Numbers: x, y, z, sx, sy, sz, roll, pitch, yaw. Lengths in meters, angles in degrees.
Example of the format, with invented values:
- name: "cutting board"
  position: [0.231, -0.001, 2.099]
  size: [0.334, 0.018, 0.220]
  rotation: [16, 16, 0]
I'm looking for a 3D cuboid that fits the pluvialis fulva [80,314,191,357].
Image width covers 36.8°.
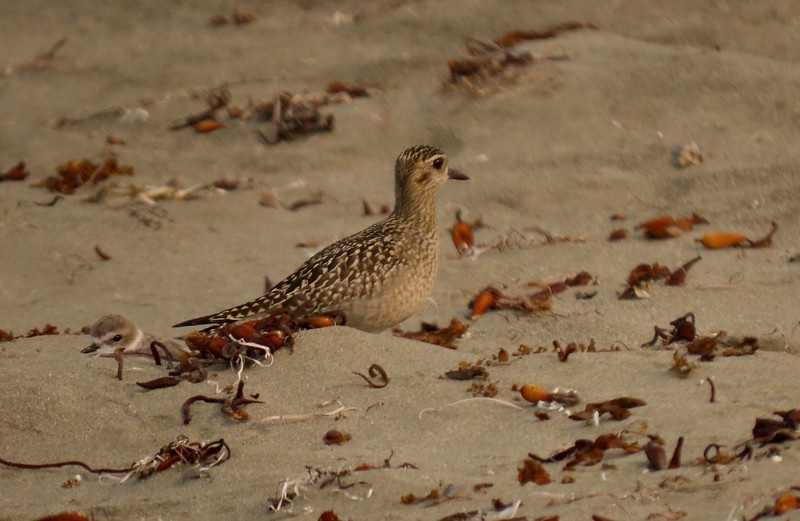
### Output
- name: "pluvialis fulva"
  position: [-2.372, 0.690, 11.165]
  size: [1.193, 0.359, 0.405]
  rotation: [0, 85, -3]
